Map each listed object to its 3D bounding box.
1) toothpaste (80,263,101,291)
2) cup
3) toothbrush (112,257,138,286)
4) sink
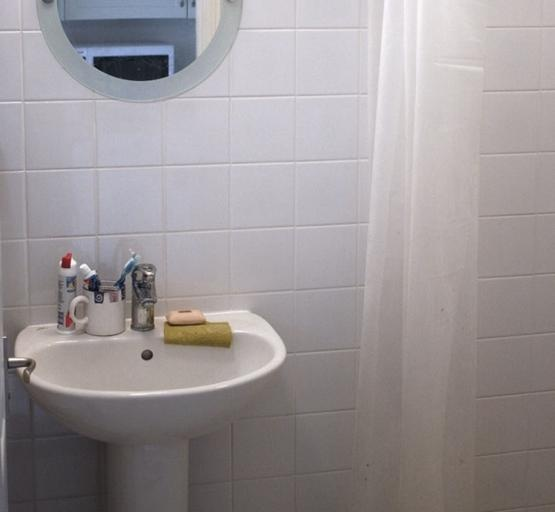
[{"bbox_3d":[-0.488,0.057,1.567,0.049,0.068,0.043,1,4,-8],"label":"toothpaste"},{"bbox_3d":[-0.483,0.144,1.580,0.097,0.130,0.155,14,15,41],"label":"cup"},{"bbox_3d":[-0.412,0.041,1.616,0.017,0.073,0.021,23,-18,8],"label":"toothbrush"},{"bbox_3d":[-0.335,0.295,1.512,0.701,0.236,0.498,1,5,0],"label":"sink"}]
